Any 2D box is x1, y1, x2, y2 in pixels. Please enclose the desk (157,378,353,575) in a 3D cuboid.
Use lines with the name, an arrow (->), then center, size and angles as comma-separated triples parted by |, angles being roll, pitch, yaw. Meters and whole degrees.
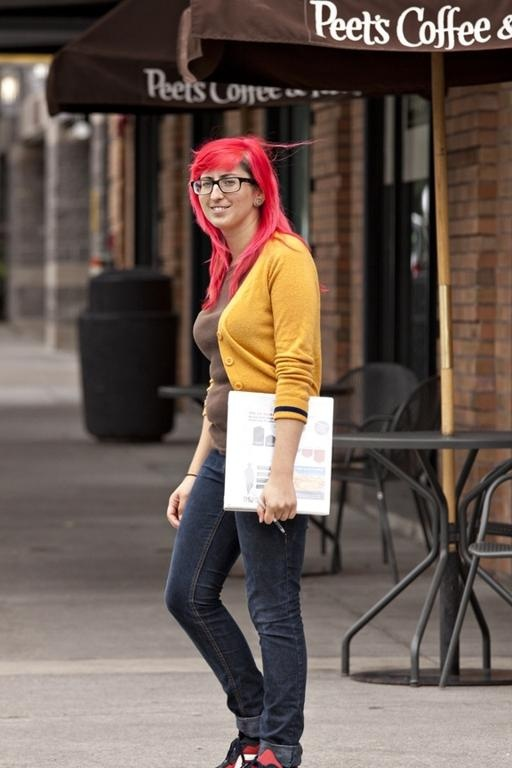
desk -> 0.080, 0.483, 6.663 | 1.062, 1.073, 1.075 | 1, -1, -9

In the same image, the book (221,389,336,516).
book -> 0.046, 0.147, 2.621 | 0.259, 0.291, 0.021 | 5, -9, -7
